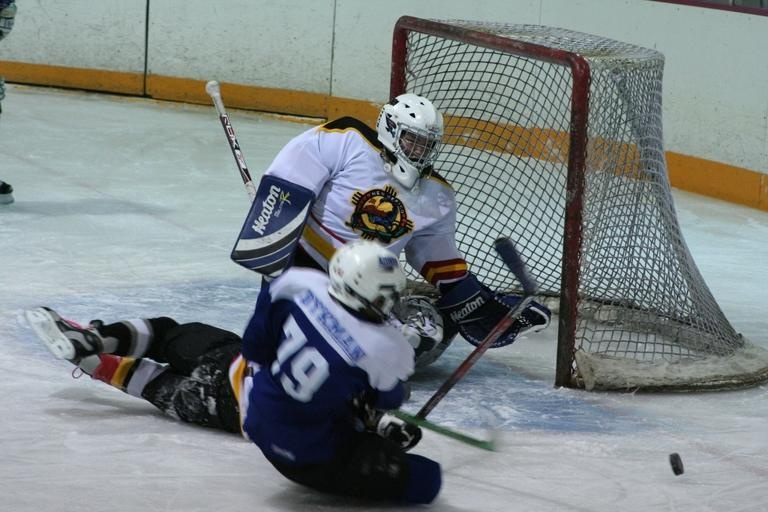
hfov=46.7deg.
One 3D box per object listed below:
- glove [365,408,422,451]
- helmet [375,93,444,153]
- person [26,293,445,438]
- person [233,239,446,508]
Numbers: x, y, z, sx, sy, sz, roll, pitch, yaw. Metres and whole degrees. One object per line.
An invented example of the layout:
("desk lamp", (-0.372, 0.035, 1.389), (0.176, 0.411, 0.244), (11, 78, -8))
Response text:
("glove", (0.051, 0.684, 3.579), (0.258, 0.087, 0.128), (17, 1, 15))
("helmet", (0.130, -0.613, 4.182), (0.314, 0.271, 0.190), (14, 15, 2))
("person", (-1.035, 0.442, 3.922), (0.966, 0.242, 0.530), (13, 12, 2))
("person", (-0.194, 0.490, 3.551), (0.918, 0.776, 0.525), (36, 35, 21))
